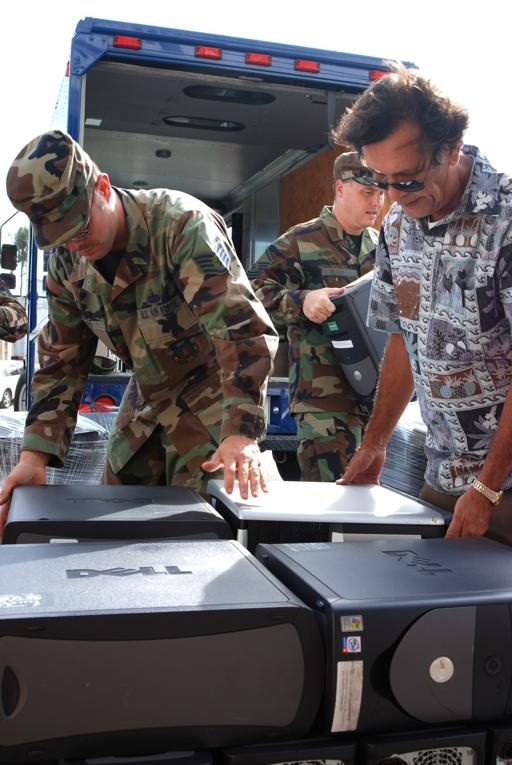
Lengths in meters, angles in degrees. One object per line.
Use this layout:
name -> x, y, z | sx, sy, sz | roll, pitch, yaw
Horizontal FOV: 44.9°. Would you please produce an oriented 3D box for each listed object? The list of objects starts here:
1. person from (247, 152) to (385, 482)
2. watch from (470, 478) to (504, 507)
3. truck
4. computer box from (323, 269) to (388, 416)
person -> 0.301, -0.306, 3.122 | 0.609, 1.741, 0.626 | -3, 9, -9
watch -> 0.498, 0.235, 1.337 | 0.063, 0.036, 0.054 | 33, 2, 15
truck -> -0.637, -1.662, 5.310 | 2.199, 2.144, 3.785 | 1, 4, -14
computer box -> 0.398, -0.187, 2.801 | 0.273, 0.564, 0.285 | -2, 6, -15
